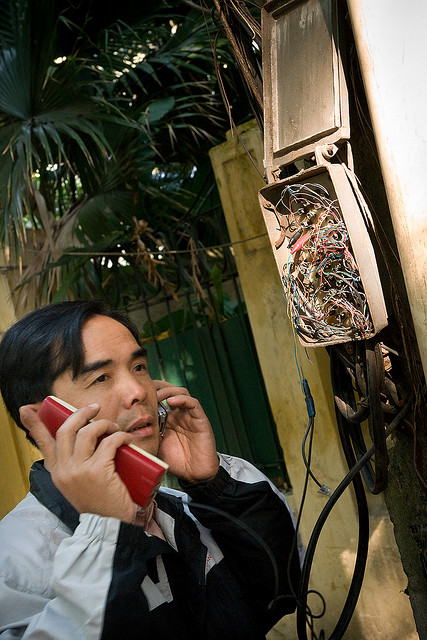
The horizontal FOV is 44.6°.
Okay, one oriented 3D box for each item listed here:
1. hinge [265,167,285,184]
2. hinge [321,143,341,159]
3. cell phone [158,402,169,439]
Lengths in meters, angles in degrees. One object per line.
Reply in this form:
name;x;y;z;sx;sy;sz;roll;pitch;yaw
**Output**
hinge;0.187;-0.428;1.542;0.052;0.048;0.012;-7;15;-29
hinge;0.305;-0.450;1.365;0.046;0.033;0.016;-16;10;-24
cell phone;-0.190;0.370;1.894;0.029;0.108;0.080;-3;12;-12
